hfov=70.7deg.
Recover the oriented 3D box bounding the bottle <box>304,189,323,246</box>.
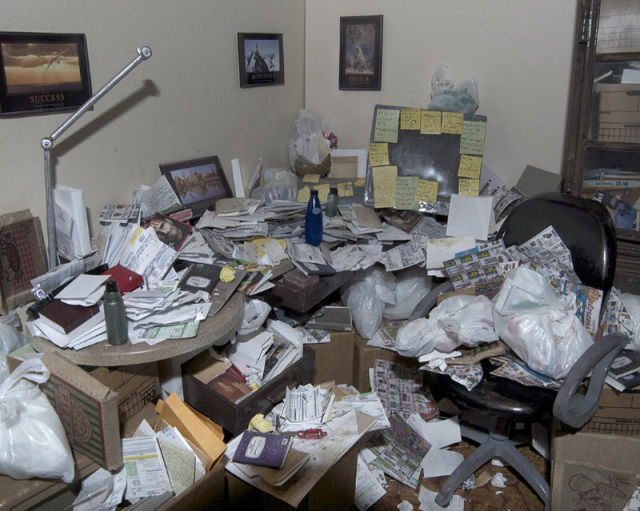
[{"bbox_3d":[-0.026,-0.203,2.411,0.133,0.293,0.121,-3,19,1],"label":"bottle"}]

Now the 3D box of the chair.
[{"bbox_3d":[1.164,0.171,2.839,1.220,2.076,1.195,-8,18,-25],"label":"chair"}]

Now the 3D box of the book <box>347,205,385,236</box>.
[{"bbox_3d":[0.272,-0.208,2.668,0.189,0.102,0.345,-1,22,5],"label":"book"}]

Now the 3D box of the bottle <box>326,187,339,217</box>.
[{"bbox_3d":[0.070,-0.306,2.603,0.068,0.160,0.055,11,23,17],"label":"bottle"}]

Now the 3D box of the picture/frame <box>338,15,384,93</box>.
[{"bbox_3d":[0.291,-1.406,3.092,0.419,0.621,0.056,9,16,32],"label":"picture/frame"}]

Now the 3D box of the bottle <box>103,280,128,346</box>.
[{"bbox_3d":[-0.727,0.191,1.590,0.080,0.228,0.111,-13,22,-27],"label":"bottle"}]

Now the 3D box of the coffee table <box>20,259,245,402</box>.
[{"bbox_3d":[-0.576,0.323,1.724,0.558,0.349,0.594,22,45,19],"label":"coffee table"}]

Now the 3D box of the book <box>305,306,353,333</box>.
[{"bbox_3d":[0.069,0.342,2.401,0.137,0.037,0.159,3,28,6],"label":"book"}]

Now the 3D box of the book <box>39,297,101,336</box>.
[{"bbox_3d":[-0.897,0.208,1.630,0.161,0.079,0.143,9,25,29],"label":"book"}]

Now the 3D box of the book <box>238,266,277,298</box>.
[{"bbox_3d":[-0.299,0.119,2.099,0.084,0.016,0.158,37,50,-1],"label":"book"}]

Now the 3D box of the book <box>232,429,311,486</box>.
[{"bbox_3d":[-0.193,0.753,1.688,0.151,0.041,0.168,16,32,28],"label":"book"}]

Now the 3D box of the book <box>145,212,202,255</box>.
[{"bbox_3d":[-0.710,-0.078,2.111,0.168,0.044,0.183,26,42,16],"label":"book"}]
